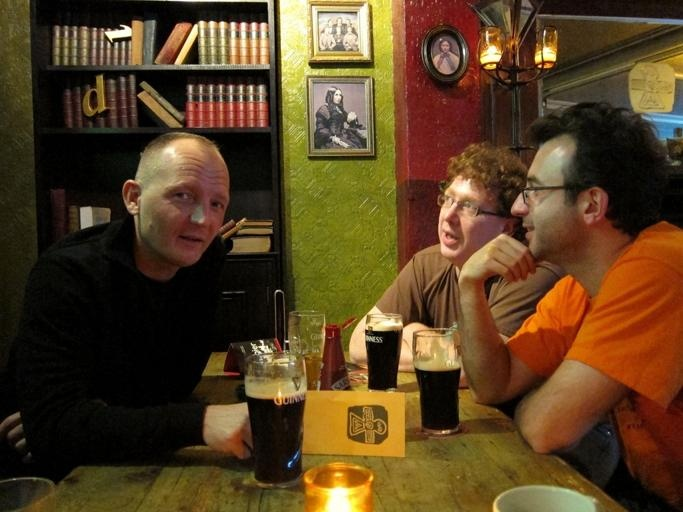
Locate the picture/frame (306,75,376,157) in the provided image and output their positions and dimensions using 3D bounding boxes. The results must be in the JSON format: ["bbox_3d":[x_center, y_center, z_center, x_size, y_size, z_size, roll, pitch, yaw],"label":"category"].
[{"bbox_3d":[-0.024,-1.015,4.275,0.663,0.672,0.031,0,7,-4],"label":"picture/frame"}]

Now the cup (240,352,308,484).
[{"bbox_3d":[-0.163,0.405,1.489,0.149,0.302,0.117,-2,5,-7],"label":"cup"}]

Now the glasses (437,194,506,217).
[{"bbox_3d":[0.609,-0.212,2.710,0.177,0.043,0.164,10,10,-25],"label":"glasses"}]

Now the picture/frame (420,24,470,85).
[{"bbox_3d":[0.702,-1.388,4.095,0.462,0.452,0.061,-3,0,-19],"label":"picture/frame"}]
